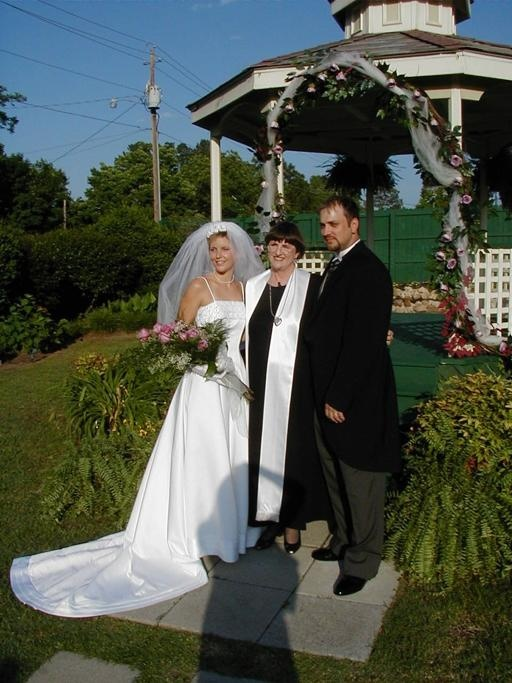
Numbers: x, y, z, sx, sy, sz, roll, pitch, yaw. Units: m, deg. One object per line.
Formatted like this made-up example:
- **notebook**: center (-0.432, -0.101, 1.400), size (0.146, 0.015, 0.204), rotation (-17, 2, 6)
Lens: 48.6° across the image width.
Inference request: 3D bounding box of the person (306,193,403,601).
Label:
- **person**: center (0.479, 0.256, 2.838), size (0.468, 1.922, 0.547), rotation (-4, 10, 1)

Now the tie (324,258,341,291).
- **tie**: center (0.396, -0.352, 2.942), size (0.049, 0.134, 0.104), rotation (27, -2, -13)

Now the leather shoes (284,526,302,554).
- **leather shoes**: center (0.215, 1.121, 3.214), size (0.063, 0.061, 0.174), rotation (0, 6, 1)

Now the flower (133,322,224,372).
- **flower**: center (-0.386, 0.028, 3.133), size (0.472, 0.289, 0.385), rotation (-4, 9, -4)

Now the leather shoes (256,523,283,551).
- **leather shoes**: center (0.078, 1.131, 3.316), size (0.072, 0.086, 0.210), rotation (7, 0, 26)

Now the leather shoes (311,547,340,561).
- **leather shoes**: center (0.390, 1.159, 3.140), size (0.167, 0.060, 0.058), rotation (-2, 7, 13)

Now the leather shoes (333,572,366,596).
- **leather shoes**: center (0.459, 1.177, 2.762), size (0.145, 0.061, 0.074), rotation (-21, 31, -32)
